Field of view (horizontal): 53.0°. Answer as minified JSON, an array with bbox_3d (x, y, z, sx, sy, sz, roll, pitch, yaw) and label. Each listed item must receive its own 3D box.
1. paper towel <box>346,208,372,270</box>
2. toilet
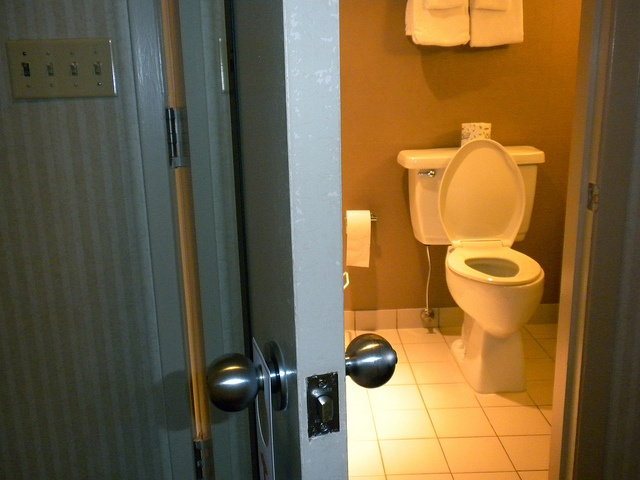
[{"bbox_3d":[0.164,0.009,2.992,0.181,0.243,0.154,3,-9,0],"label":"paper towel"},{"bbox_3d":[0.638,0.081,2.798,0.638,1.026,0.613,2,12,14],"label":"toilet"}]
